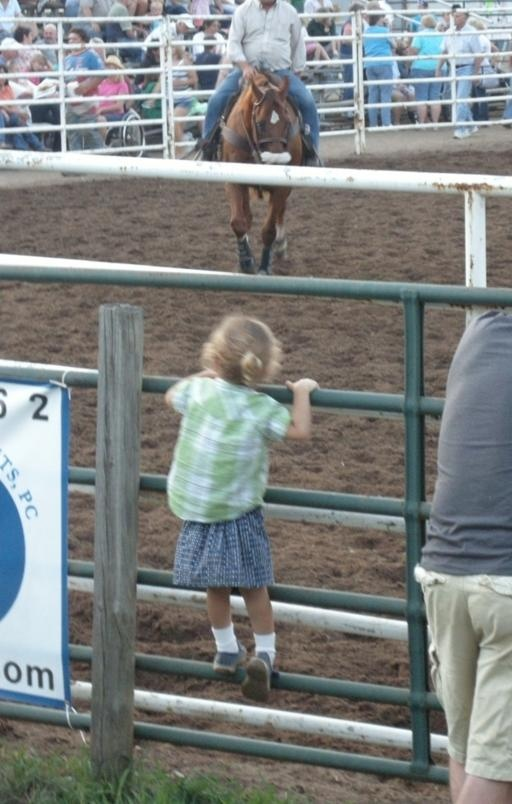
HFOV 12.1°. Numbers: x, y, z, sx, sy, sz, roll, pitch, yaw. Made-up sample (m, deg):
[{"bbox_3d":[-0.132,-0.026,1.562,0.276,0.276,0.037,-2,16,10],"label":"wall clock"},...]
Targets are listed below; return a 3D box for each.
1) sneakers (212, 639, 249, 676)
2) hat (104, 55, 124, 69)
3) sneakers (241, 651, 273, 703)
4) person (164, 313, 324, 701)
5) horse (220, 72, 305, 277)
[{"bbox_3d":[-0.113,1.130,10.698,0.070,0.117,0.208,2,10,13],"label":"sneakers"},{"bbox_3d":[-1.152,-2.791,19.725,0.105,0.055,0.144,11,-20,5],"label":"hat"},{"bbox_3d":[0.014,1.206,10.570,0.092,0.241,0.097,11,19,22],"label":"sneakers"},{"bbox_3d":[-0.069,0.460,10.624,0.648,1.664,0.303,0,7,1],"label":"person"},{"bbox_3d":[0.044,-1.491,15.502,0.532,1.281,0.920,0,7,-1],"label":"horse"}]
